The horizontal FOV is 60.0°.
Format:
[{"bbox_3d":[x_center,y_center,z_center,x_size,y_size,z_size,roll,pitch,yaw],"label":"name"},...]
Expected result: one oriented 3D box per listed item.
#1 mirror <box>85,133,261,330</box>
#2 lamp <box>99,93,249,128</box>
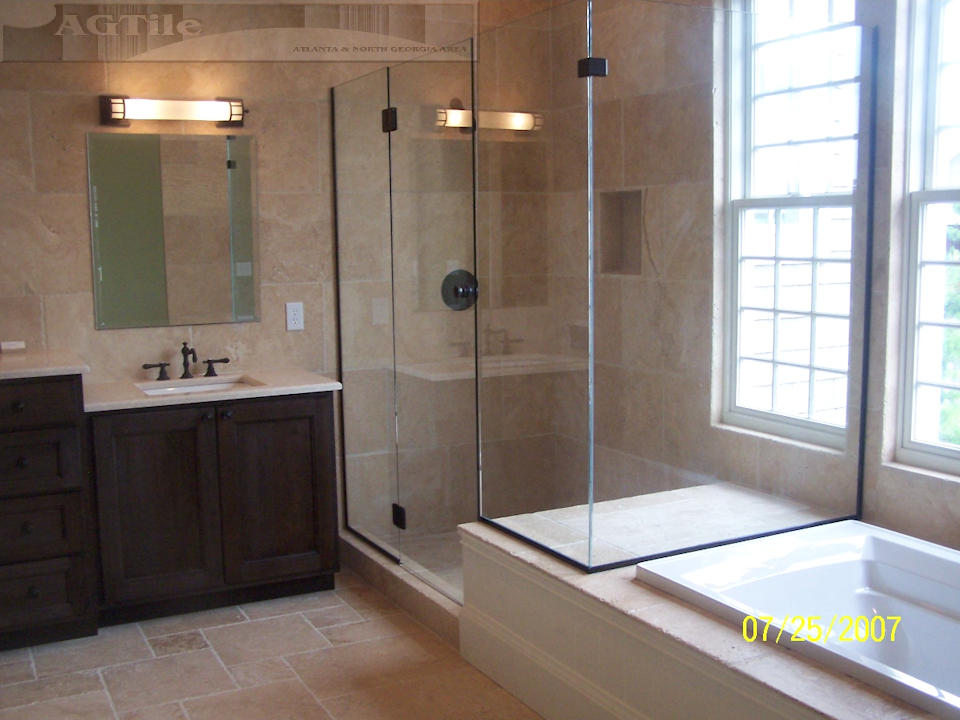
[{"bbox_3d":[-1.524,-0.644,4.030,0.863,1.061,0.050,-3,7,-22],"label":"mirror"},{"bbox_3d":[-1.455,-1.185,3.979,0.665,0.133,0.084,-5,11,-23],"label":"lamp"}]
